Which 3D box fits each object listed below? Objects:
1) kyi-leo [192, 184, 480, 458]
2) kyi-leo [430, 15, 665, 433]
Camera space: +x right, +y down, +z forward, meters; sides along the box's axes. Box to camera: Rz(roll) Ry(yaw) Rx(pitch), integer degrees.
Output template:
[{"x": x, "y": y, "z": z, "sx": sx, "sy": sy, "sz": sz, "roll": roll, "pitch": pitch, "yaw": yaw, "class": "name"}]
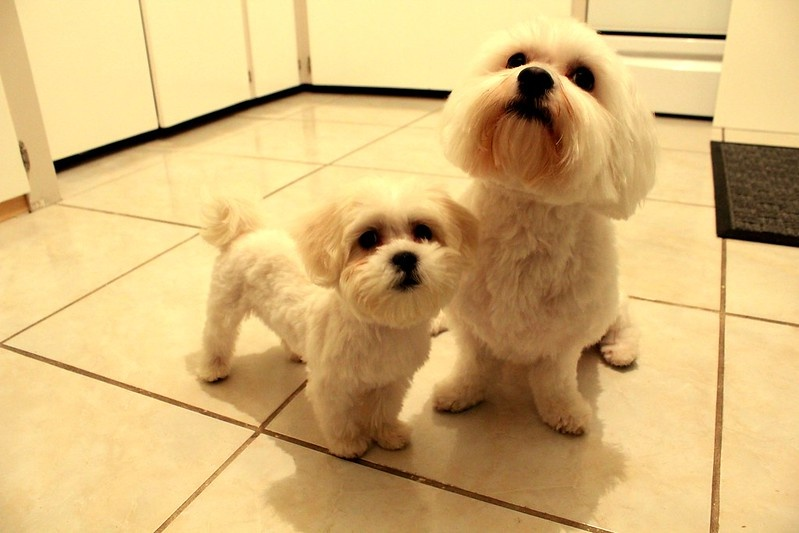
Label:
[{"x": -0.243, "y": 0.112, "z": 2.068, "sx": 0.866, "sy": 0.866, "sz": 0.448, "roll": 19, "pitch": 34, "yaw": 27, "class": "kyi-leo"}, {"x": 0.438, "y": -0.106, "z": 2.020, "sx": 0.663, "sy": 1.266, "sz": 0.467, "roll": 9, "pitch": 31, "yaw": 12, "class": "kyi-leo"}]
